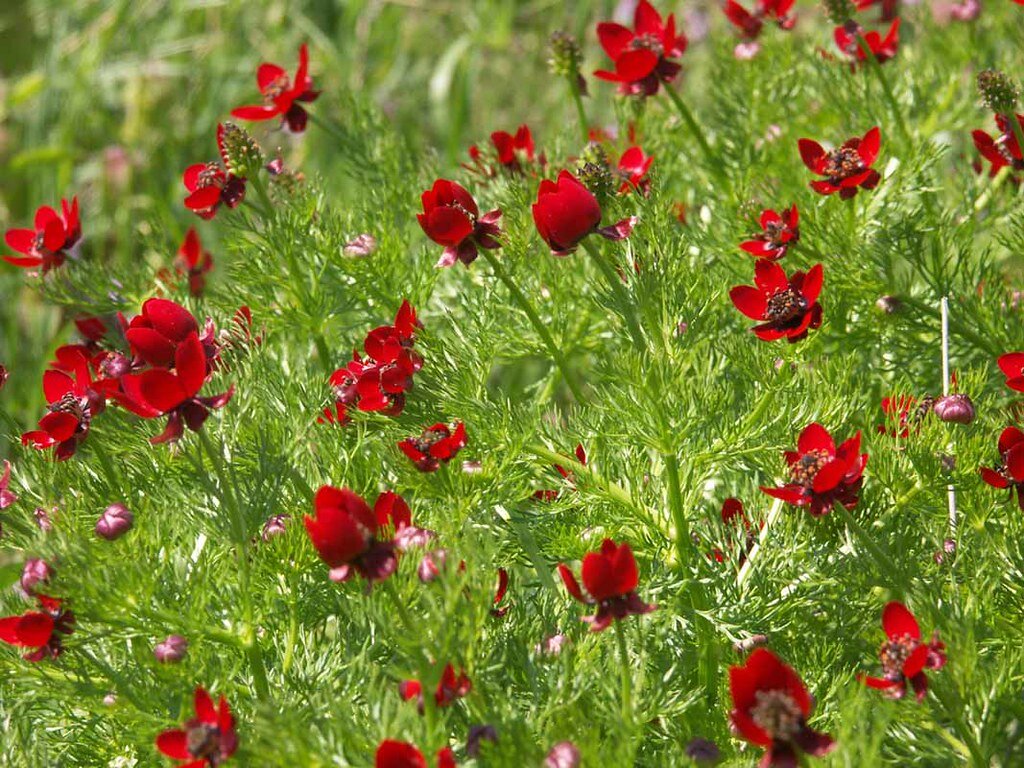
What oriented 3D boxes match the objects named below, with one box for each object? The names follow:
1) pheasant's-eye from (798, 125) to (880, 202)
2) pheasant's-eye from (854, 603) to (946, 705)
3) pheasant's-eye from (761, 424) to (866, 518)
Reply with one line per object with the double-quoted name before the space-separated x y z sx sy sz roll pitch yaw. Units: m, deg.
"pheasant's-eye" 0.528 -0.352 1.998 0.130 0.076 0.102 -38 41 -19
"pheasant's-eye" 0.534 0.374 1.687 0.096 0.149 0.116 19 63 15
"pheasant's-eye" 0.446 0.103 1.789 0.105 0.146 0.079 -1 98 17
